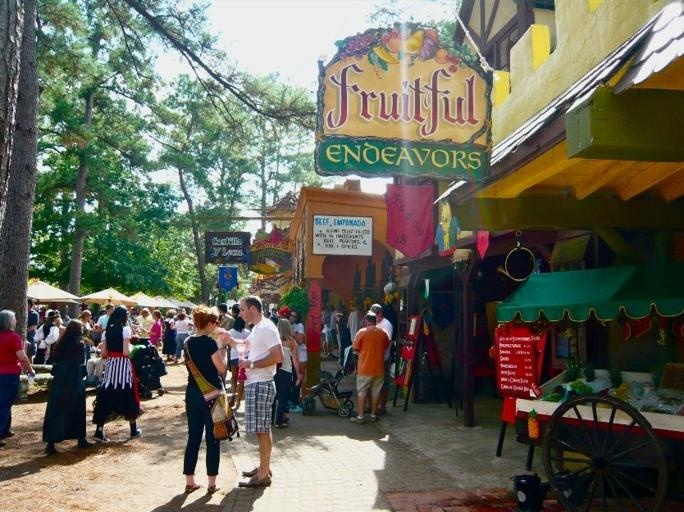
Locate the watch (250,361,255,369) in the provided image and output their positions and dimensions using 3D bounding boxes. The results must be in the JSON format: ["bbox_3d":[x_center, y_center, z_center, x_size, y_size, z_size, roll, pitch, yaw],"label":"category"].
[{"bbox_3d":[-1.124,1.369,7.666,0.049,0.073,0.022,0,-7,1],"label":"watch"}]

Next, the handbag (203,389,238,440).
[{"bbox_3d":[-1.425,1.926,7.378,0.381,0.580,0.259,10,-12,-43],"label":"handbag"}]

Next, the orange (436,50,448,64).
[{"bbox_3d":[1.453,-2.945,8.998,0.178,0.221,0.183,7,24,10],"label":"orange"}]

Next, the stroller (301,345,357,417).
[{"bbox_3d":[-0.215,2.737,13.295,1.535,1.912,1.210,1,-7,-3],"label":"stroller"}]

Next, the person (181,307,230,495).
[{"bbox_3d":[-1.726,1.767,7.547,0.516,2.303,0.618,4,-8,-14],"label":"person"}]

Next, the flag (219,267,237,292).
[{"bbox_3d":[-4.865,0.843,25.926,0.768,1.089,1.705,4,-9,-12],"label":"flag"}]

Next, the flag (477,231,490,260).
[{"bbox_3d":[2.432,-0.191,10.606,0.225,0.414,0.659,0,-9,12],"label":"flag"}]
